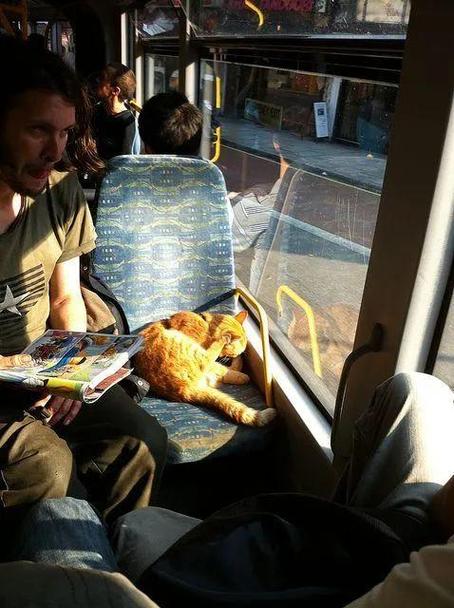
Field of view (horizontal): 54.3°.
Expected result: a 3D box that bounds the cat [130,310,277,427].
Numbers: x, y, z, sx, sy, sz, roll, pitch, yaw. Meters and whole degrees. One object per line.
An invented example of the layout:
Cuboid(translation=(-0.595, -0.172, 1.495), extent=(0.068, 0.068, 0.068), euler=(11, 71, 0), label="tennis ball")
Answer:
Cuboid(translation=(-0.121, 0.244, 1.891), extent=(0.468, 0.233, 0.673), euler=(0, 27, -23), label="cat")

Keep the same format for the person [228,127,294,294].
Cuboid(translation=(0.193, -0.576, 2.823), extent=(0.320, 0.840, 0.824), euler=(14, -20, -18), label="person")
